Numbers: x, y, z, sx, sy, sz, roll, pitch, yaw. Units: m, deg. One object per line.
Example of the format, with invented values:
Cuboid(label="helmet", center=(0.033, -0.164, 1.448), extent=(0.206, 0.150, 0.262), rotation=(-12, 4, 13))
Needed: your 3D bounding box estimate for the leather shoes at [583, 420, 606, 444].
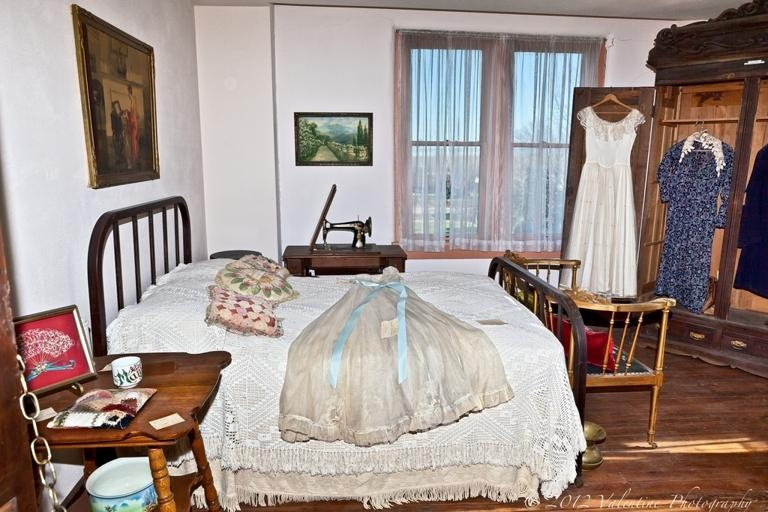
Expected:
Cuboid(label="leather shoes", center=(1.332, 1.124, 3.342), extent=(0.157, 0.068, 0.156), rotation=(-5, 7, -9))

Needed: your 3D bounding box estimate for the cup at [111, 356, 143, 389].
Cuboid(label="cup", center=(-1.249, 0.567, 2.599), extent=(0.141, 0.119, 0.141), rotation=(1, -2, 0))

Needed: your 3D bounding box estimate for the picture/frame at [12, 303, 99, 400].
Cuboid(label="picture/frame", center=(-1.568, 0.449, 2.450), extent=(0.033, 0.384, 0.399), rotation=(-13, 1, 17))

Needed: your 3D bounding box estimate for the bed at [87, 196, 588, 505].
Cuboid(label="bed", center=(-0.330, 0.662, 3.556), extent=(2.548, 1.625, 1.835), rotation=(-3, 18, -5))

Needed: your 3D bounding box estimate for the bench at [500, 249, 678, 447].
Cuboid(label="bench", center=(1.325, 0.711, 3.884), extent=(0.769, 1.039, 1.281), rotation=(2, 4, -14))
